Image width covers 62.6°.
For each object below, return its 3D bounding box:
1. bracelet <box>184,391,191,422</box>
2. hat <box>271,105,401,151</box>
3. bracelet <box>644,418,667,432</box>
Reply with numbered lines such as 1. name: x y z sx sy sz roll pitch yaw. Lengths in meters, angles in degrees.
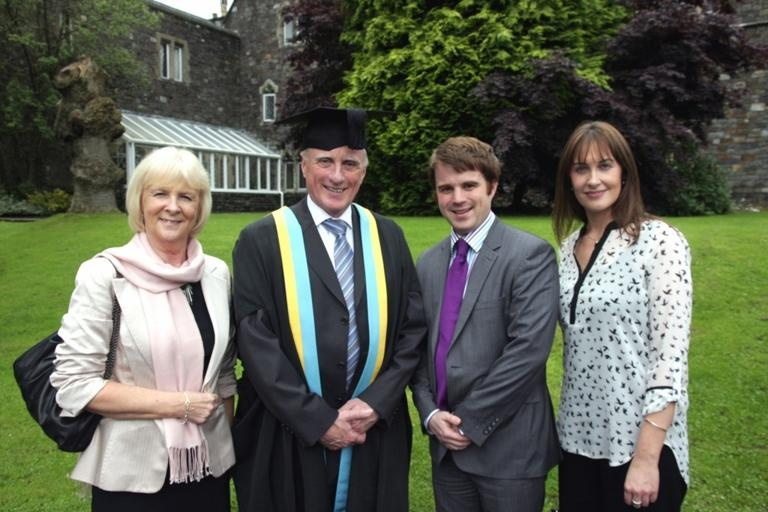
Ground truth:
1. bracelet: -1.782 1.386 5.749 0.059 0.190 0.152 3 -12 -9
2. hat: -0.677 -1.275 6.525 0.942 0.385 0.952 3 2 43
3. bracelet: 2.427 1.488 5.609 0.130 0.036 0.124 28 5 27
